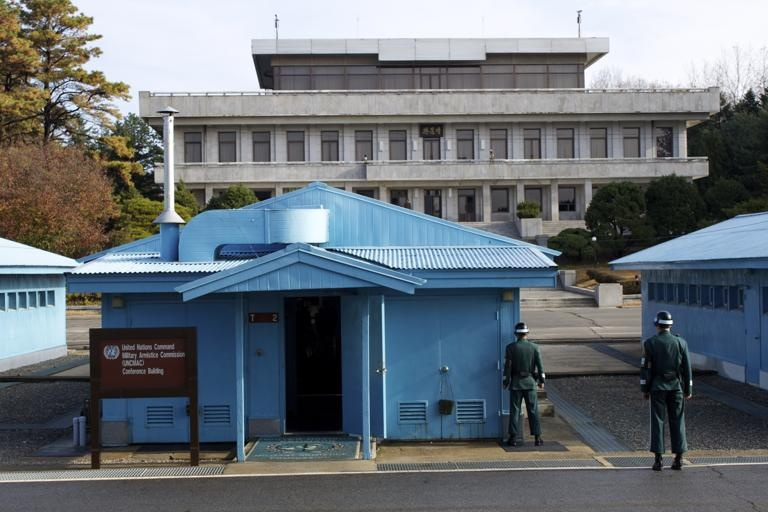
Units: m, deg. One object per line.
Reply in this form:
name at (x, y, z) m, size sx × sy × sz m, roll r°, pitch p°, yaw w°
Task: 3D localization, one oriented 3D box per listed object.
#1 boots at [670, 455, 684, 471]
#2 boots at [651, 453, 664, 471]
boots at (12.989, 9.195, 60.815) m, size 0.399 × 0.699 × 0.736 m, roll 0°, pitch 5°, yaw 6°
boots at (12.117, 9.205, 60.841) m, size 0.384 × 0.743 × 0.780 m, roll 1°, pitch 6°, yaw 3°
